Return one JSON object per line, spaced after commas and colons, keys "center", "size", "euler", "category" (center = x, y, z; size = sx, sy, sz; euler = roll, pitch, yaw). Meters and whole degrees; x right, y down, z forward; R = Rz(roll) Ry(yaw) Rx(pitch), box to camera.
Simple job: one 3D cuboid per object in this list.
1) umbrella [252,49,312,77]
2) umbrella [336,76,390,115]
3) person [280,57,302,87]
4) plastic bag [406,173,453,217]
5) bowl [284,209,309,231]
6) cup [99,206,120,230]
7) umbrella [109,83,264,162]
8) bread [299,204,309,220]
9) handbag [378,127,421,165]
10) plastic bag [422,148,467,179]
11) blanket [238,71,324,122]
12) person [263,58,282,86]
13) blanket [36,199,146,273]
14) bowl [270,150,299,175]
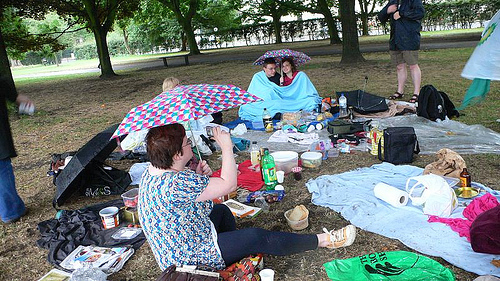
{"center": [0.955, -2.606, 11.304], "size": [1.366, 0.673, 1.382], "euler": [-1, 7, 42], "category": "umbrella"}
{"center": [3.309, -1.423, 10.500], "size": [1.412, 0.796, 1.602], "euler": [13, 1, 15], "category": "umbrella"}
{"center": [1.253, -2.102, 10.969], "size": [0.544, 0.833, 0.712], "euler": [-5, 20, 3], "category": "person"}
{"center": [3.196, 0.910, 6.577], "size": [0.885, 0.739, 0.585], "euler": [-5, 14, 0], "category": "plastic bag"}
{"center": [0.838, 1.394, 6.418], "size": [0.344, 0.188, 0.355], "euler": [-3, 2, 0], "category": "bowl"}
{"center": [-2.611, 1.460, 6.874], "size": [0.411, 0.269, 0.356], "euler": [-4, 16, -3], "category": "cup"}
{"center": [-1.057, -0.327, 5.741], "size": [1.329, 0.727, 1.257], "euler": [-27, 13, -29], "category": "umbrella"}
{"center": [0.988, 1.249, 6.441], "size": [0.051, 0.174, 0.167], "euler": [23, 64, 1], "category": "bread"}
{"center": [3.088, 0.039, 7.931], "size": [1.031, 0.806, 0.777], "euler": [-3, 8, -9], "category": "handbag"}
{"center": [3.834, 0.426, 7.081], "size": [0.817, 0.462, 0.514], "euler": [3, 10, 30], "category": "plastic bag"}
{"center": [0.937, -1.367, 10.853], "size": [2.664, 1.068, 1.291], "euler": [-3, 29, 8], "category": "blanket"}
{"center": [0.711, -2.078, 10.932], "size": [0.494, 0.841, 0.411], "euler": [-10, 21, -8], "category": "person"}
{"center": [-3.032, 1.825, 6.825], "size": [1.495, 0.154, 1.220], "euler": [-12, 29, -29], "category": "blanket"}
{"center": [0.752, 0.469, 7.806], "size": [0.530, 0.291, 0.504], "euler": [-5, 1, 0], "category": "bowl"}
